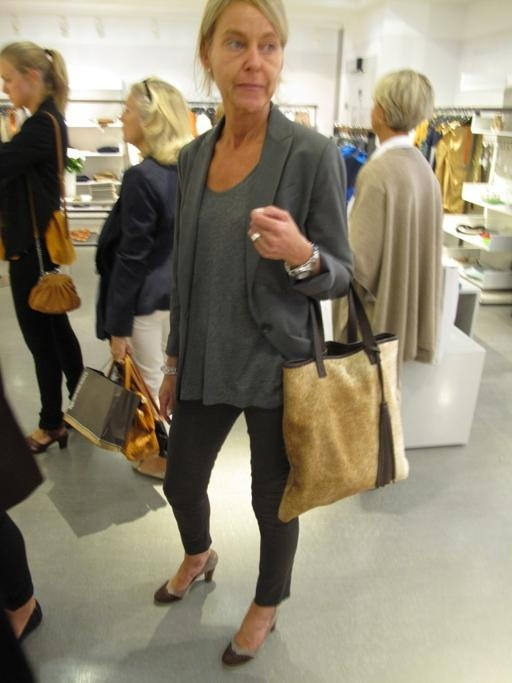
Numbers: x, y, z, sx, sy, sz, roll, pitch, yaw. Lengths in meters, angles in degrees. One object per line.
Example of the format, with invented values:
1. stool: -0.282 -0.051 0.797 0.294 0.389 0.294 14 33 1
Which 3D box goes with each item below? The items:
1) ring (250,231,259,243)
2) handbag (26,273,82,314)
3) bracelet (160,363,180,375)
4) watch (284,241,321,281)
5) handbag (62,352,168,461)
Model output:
1. ring: -0.002 -0.157 0.693 0.011 0.009 0.012 -23 7 3
2. handbag: -0.885 -0.208 2.031 0.233 0.230 0.152 -2 7 -17
3. bracelet: -0.245 0.073 1.281 0.033 0.024 0.035 11 5 40
4. watch: 0.084 -0.129 0.749 0.044 0.034 0.057 2 -20 -6
5. handbag: -0.560 0.269 1.852 0.343 0.363 0.198 37 18 12
